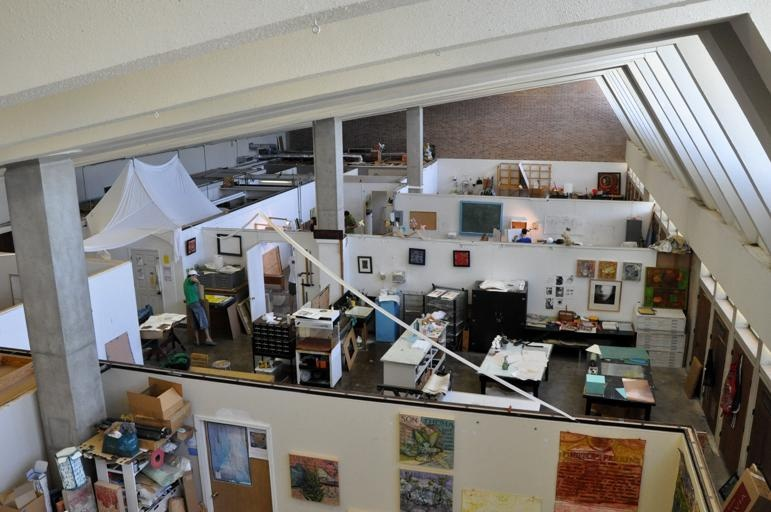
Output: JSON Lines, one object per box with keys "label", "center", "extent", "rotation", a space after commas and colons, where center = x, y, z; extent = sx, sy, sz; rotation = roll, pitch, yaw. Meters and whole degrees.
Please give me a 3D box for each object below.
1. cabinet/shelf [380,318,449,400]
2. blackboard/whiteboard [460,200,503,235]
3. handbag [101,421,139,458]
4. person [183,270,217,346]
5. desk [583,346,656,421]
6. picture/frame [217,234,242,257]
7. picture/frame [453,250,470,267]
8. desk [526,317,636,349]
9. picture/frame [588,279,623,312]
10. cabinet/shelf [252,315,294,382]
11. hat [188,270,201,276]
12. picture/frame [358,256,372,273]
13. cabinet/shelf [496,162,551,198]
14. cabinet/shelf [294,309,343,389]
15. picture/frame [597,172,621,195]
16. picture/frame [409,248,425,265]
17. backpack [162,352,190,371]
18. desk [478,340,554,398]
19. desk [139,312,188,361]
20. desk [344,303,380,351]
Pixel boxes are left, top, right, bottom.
{"label": "cabinet/shelf", "center": [0.508, 1.801, 10.626], "extent": [0.908, 0.994, 2.027], "rotation": [0, 5, 12]}
{"label": "blackboard/whiteboard", "center": [2.592, -1.097, 16.132], "extent": [0.996, 0.819, 0.073], "rotation": [0, 10, 0]}
{"label": "handbag", "center": [-3.292, 2.309, 7.516], "extent": [0.468, 0.341, 0.284], "rotation": [1, 5, 19]}
{"label": "person", "center": [-3.864, 1.080, 12.450], "extent": [0.537, 1.589, 0.709], "rotation": [-3, 5, -17]}
{"label": "desk", "center": [3.831, 2.021, 9.813], "extent": [0.968, 0.483, 2.028], "rotation": [5, 20, 19]}
{"label": "picture/frame", "center": [-3.428, -0.270, 13.223], "extent": [0.488, 0.407, 0.046], "rotation": [7, 25, 16]}
{"label": "picture/frame", "center": [1.595, 0.033, 12.496], "extent": [0.330, 0.327, 0.046], "rotation": [3, 11, 14]}
{"label": "desk", "center": [3.878, 1.558, 12.006], "extent": [2.082, 0.560, 0.507], "rotation": [0, 5, 12]}
{"label": "picture/frame", "center": [4.436, 0.760, 12.025], "extent": [0.631, 0.680, 0.050], "rotation": [3, 9, 12]}
{"label": "cabinet/shelf", "center": [-2.007, 1.704, 10.962], "extent": [0.837, 1.247, 0.763], "rotation": [-1, 5, -1]}
{"label": "hat", "center": [-3.908, 0.352, 12.206], "extent": [0.181, 0.100, 0.127], "rotation": [6, 8, -23]}
{"label": "picture/frame", "center": [-0.443, 0.161, 13.042], "extent": [0.380, 0.426, 0.036], "rotation": [0, 14, 7]}
{"label": "cabinet/shelf", "center": [5.180, -2.870, 22.126], "extent": [1.891, 1.610, 0.610], "rotation": [3, 13, 16]}
{"label": "cabinet/shelf", "center": [-1.199, 1.666, 10.642], "extent": [0.817, 1.490, 0.839], "rotation": [-2, 5, -8]}
{"label": "picture/frame", "center": [7.947, -2.653, 21.387], "extent": [0.841, 0.951, 0.100], "rotation": [1, 16, 5]}
{"label": "picture/frame", "center": [0.681, -0.016, 12.752], "extent": [0.349, 0.345, 0.037], "rotation": [3, 11, 10]}
{"label": "backpack", "center": [-3.455, 1.751, 9.906], "extent": [0.339, 0.218, 0.366], "rotation": [-3, 5, -22]}
{"label": "desk", "center": [2.303, 1.998, 10.594], "extent": [1.023, 0.866, 1.391], "rotation": [1, 5, 23]}
{"label": "desk", "center": [-4.448, 1.692, 12.001], "extent": [0.643, 0.748, 1.155], "rotation": [-3, 9, 2]}
{"label": "desk", "center": [-0.515, 1.374, 12.635], "extent": [0.756, 0.947, 1.000], "rotation": [2, 19, 15]}
